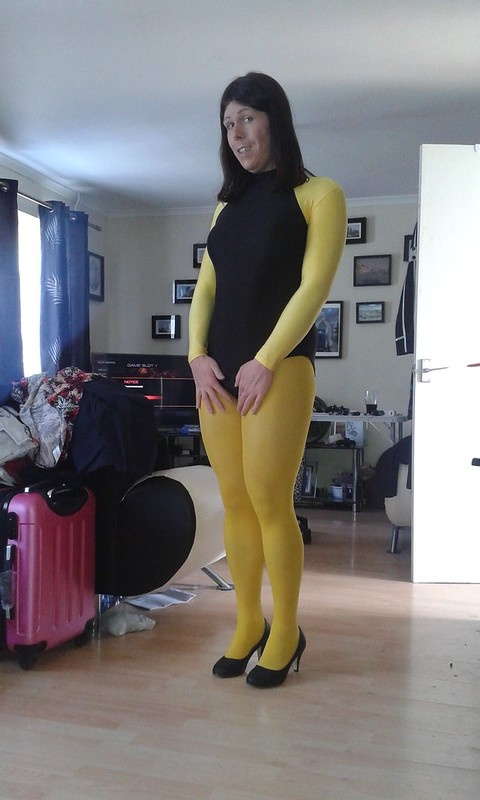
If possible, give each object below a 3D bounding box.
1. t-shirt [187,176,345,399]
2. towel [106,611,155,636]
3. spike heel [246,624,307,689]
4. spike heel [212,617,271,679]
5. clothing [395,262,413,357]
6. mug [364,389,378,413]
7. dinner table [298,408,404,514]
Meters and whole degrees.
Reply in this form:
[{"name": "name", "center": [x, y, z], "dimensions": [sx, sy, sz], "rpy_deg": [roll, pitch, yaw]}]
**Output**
[{"name": "t-shirt", "center": [0.043, -0.289, 1.519], "dimensions": [0.410, 0.458, 0.168], "rpy_deg": [-2, -4, 41]}, {"name": "towel", "center": [-0.330, 0.674, 1.952], "dimensions": [0.150, 0.049, 0.112], "rpy_deg": [2, -3, -10]}, {"name": "spike heel", "center": [0.091, 0.613, 1.550], "dimensions": [0.065, 0.104, 0.194], "rpy_deg": [-7, -2, 43]}, {"name": "spike heel", "center": [-0.009, 0.637, 1.620], "dimensions": [0.064, 0.104, 0.193], "rpy_deg": [-12, -13, 37]}, {"name": "clothing", "center": [0.864, -0.520, 3.385], "dimensions": [0.126, 0.564, 0.033], "rpy_deg": [-4, 11, -12]}, {"name": "mug", "center": [0.850, 0.024, 4.184], "dimensions": [0.074, 0.151, 0.235], "rpy_deg": [0, -3, 14]}, {"name": "dinner table", "center": [0.759, 0.411, 4.335], "dimensions": [0.676, 0.539, 0.265], "rpy_deg": [4, 10, 25]}]
